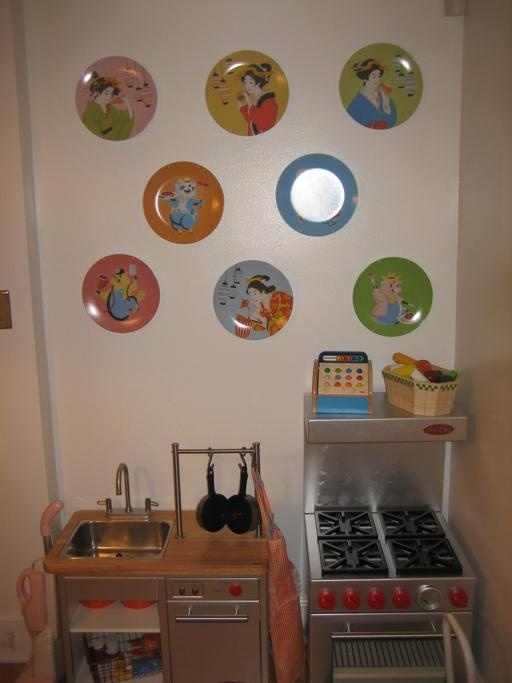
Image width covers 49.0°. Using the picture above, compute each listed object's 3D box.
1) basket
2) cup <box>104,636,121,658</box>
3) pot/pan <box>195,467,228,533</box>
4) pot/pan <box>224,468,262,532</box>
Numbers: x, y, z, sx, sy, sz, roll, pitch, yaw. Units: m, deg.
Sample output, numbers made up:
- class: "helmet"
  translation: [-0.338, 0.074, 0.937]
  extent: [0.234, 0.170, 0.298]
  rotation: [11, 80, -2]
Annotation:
- class: "basket"
  translation: [0.613, 0.121, 2.133]
  extent: [0.183, 0.143, 0.295]
  rotation: [-3, 9, -14]
- class: "cup"
  translation: [-0.574, 1.219, 2.241]
  extent: [0.068, 0.065, 0.080]
  rotation: [0, -1, -14]
- class: "pot/pan"
  translation: [-0.182, 0.637, 2.286]
  extent: [0.147, 0.265, 0.086]
  rotation: [-4, -5, -17]
- class: "pot/pan"
  translation: [-0.054, 0.704, 2.262]
  extent: [0.125, 0.214, 0.093]
  rotation: [-5, 13, -14]
